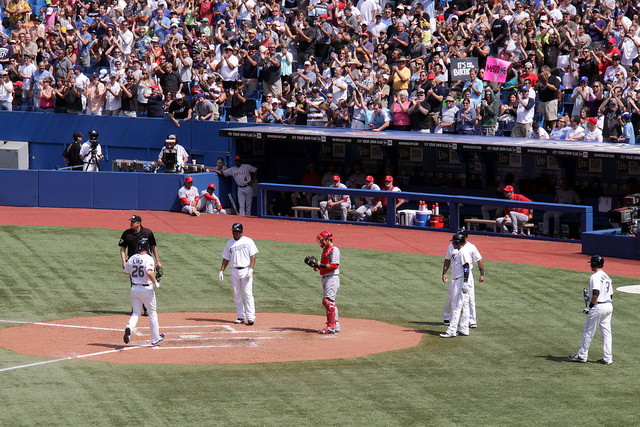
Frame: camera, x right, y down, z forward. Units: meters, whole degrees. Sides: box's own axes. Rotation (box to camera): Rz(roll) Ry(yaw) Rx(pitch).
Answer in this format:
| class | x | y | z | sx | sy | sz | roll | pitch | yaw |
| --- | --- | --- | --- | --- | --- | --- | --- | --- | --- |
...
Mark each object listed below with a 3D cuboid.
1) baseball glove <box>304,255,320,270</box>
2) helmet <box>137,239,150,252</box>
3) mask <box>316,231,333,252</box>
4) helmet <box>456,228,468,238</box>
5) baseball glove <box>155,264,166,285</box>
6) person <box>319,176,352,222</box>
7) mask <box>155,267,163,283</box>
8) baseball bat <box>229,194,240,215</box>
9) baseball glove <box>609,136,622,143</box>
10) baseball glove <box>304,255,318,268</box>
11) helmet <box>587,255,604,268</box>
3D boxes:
| class | x | y | z | sx | sy | sz | roll | pitch | yaw |
| --- | --- | --- | --- | --- | --- | --- | --- | --- | --- |
| baseball glove | -0.199 | 1.236 | 29.789 | 0.344 | 0.324 | 0.348 | 0 | 0 | -1 |
| helmet | -4.324 | 0.796 | 29.055 | 0.253 | 0.294 | 0.563 | 0 | 0 | -11 |
| mask | 0.075 | 0.650 | 29.983 | 0.507 | 0.486 | 0.384 | 1 | 0 | 3 |
| helmet | 3.544 | 0.473 | 30.065 | 0.270 | 0.189 | 0.333 | 4 | 0 | -36 |
| baseball glove | -4.258 | 1.645 | 31.586 | 0.243 | 0.670 | 0.303 | 0 | 12 | -27 |
| person | 0.458 | -0.409 | 40.387 | 0.885 | 1.719 | 0.790 | 1 | 0 | -11 |
| mask | -4.057 | 1.554 | 29.828 | 0.138 | 0.318 | 0.238 | 8 | 11 | -4 |
| baseball bat | -3.080 | -0.358 | 42.717 | 0.079 | 0.838 | 0.080 | -27 | -4 | -41 |
| baseball glove | 9.447 | -2.386 | 38.103 | 0.163 | 0.182 | 0.525 | 0 | 0 | -14 |
| baseball glove | -0.228 | 1.210 | 29.795 | 0.298 | 0.279 | 0.345 | 0 | 0 | -4 |
| helmet | 6.624 | 1.158 | 28.640 | 0.356 | 0.335 | 0.332 | 10 | 14 | 34 |
